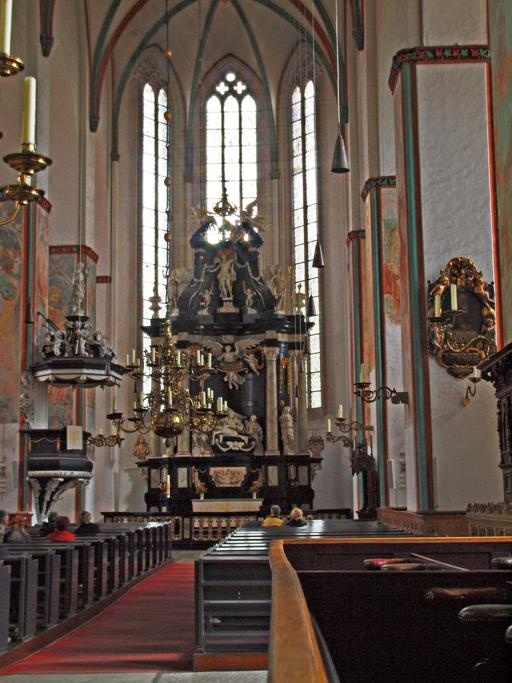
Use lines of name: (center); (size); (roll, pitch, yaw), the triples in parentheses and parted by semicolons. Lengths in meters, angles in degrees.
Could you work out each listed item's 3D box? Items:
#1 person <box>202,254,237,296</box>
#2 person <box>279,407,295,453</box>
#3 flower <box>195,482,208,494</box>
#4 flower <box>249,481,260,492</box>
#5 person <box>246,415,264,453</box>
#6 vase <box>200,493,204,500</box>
person: (-0.679, -1.364, 21.435); (0.521, 1.024, 0.327); (-3, -7, -1)
person: (0.608, 1.751, 20.272); (0.263, 0.954, 0.459); (-4, -7, 1)
flower: (-1.052, 2.849, 19.853); (0.195, 0.256, 0.194); (0, -10, 4)
flower: (-0.012, 2.835, 19.911); (0.143, 0.274, 0.196); (1, -6, -9)
person: (-0.014, 1.865, 20.485); (0.346, 0.774, 0.195); (-3, -7, -2)
vase: (-1.050, 3.007, 19.755); (0.095, 0.155, 0.094); (0, -12, -1)
